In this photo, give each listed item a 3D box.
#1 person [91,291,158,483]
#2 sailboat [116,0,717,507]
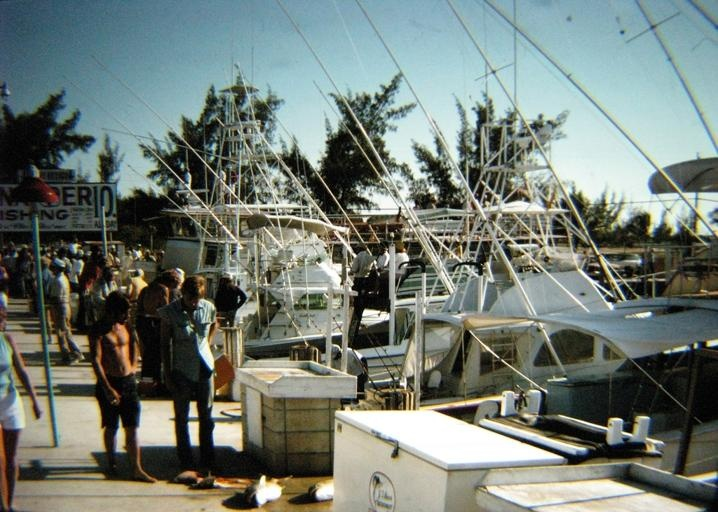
[{"bbox_3d":[-2.438,1.299,8.177,0.431,1.838,0.625,-5,7,-18],"label":"person"},{"bbox_3d":[-0.033,0.625,9.954,2.438,4.233,7.345,1,1,-38],"label":"sailboat"}]
